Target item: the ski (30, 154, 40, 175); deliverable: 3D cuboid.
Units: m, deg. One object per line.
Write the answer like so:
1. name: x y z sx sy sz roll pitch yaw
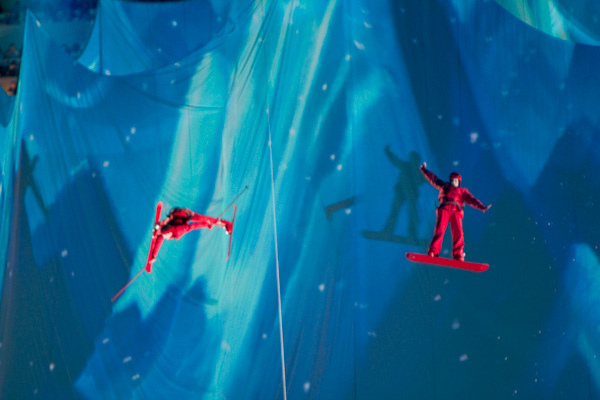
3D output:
1. ski: -2.574 -0.346 8.313 0.083 0.173 0.009 -1 -5 5

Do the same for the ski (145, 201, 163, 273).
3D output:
1. ski: -1.406 0.351 8.197 0.156 0.694 0.191 -1 -5 0

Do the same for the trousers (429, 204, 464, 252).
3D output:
1. trousers: 1.398 0.208 8.089 0.263 0.226 0.772 2 -52 5

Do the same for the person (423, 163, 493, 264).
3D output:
1. person: 1.461 0.157 8.141 0.573 1.037 0.292 3 -40 12
